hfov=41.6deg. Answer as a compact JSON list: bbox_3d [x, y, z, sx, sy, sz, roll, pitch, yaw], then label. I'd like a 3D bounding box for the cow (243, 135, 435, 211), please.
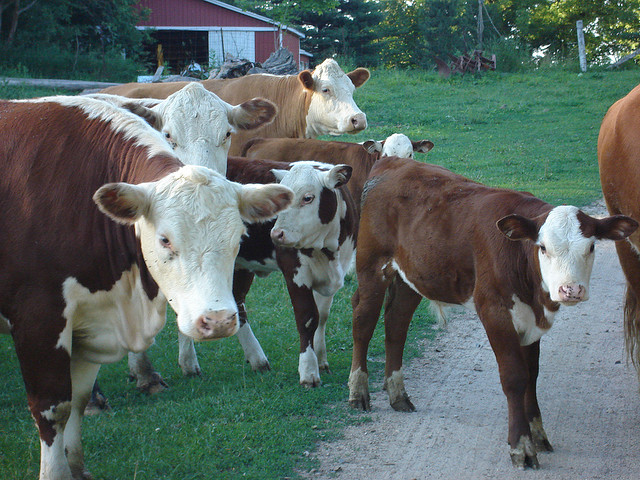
[{"bbox_3d":[0.160,-0.858,12.284,2.179,1.348,1.170,2,9,18],"label":"cow"}]

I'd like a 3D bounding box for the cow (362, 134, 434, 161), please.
[{"bbox_3d":[1.267,-1.440,13.087,0.645,0.564,0.955,-2,1,-5],"label":"cow"}]

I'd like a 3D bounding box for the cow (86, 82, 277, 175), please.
[{"bbox_3d":[-1.277,-1.338,9.374,0.910,1.002,1.722,-14,18,-34],"label":"cow"}]

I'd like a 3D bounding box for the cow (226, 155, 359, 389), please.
[{"bbox_3d":[-0.436,0.366,10.423,1.185,2.634,2.958,-13,9,-35],"label":"cow"}]

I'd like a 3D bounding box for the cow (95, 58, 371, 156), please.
[{"bbox_3d":[-1.616,-1.482,13.846,4.545,2.647,1.280,1,2,15],"label":"cow"}]
